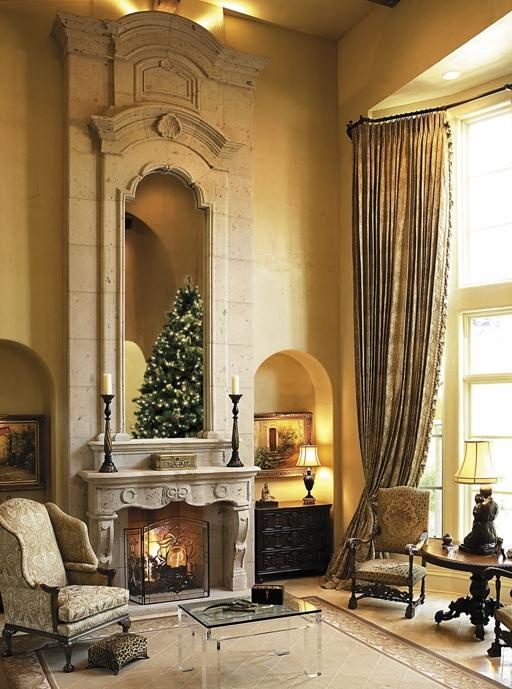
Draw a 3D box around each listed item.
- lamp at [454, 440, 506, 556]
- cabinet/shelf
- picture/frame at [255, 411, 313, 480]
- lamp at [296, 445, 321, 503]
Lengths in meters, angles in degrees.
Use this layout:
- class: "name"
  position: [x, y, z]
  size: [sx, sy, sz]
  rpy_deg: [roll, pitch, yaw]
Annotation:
- class: "lamp"
  position: [1.970, 1.338, 6.990]
  size: [0.381, 0.977, 0.363]
  rpy_deg: [0, -2, 16]
- class: "cabinet/shelf"
  position: [0.398, 2.208, 8.708]
  size: [0.948, 0.804, 0.540]
  rpy_deg: [1, -6, -21]
- class: "picture/frame"
  position: [0.301, 1.213, 9.328]
  size: [0.918, 0.717, 0.067]
  rpy_deg: [2, -7, -30]
- class: "lamp"
  position: [0.613, 1.500, 9.305]
  size: [0.266, 0.646, 0.539]
  rpy_deg: [0, -2, 4]
